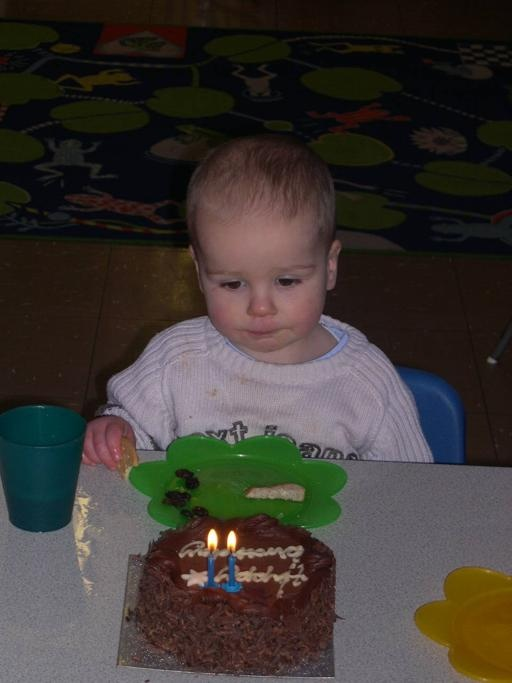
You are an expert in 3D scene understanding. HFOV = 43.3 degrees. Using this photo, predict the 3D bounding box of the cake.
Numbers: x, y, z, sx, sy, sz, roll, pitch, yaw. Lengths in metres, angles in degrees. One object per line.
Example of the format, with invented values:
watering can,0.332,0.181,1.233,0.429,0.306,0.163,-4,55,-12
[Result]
cake,-0.014,0.204,0.556,0.167,0.050,0.170,3,35,0
